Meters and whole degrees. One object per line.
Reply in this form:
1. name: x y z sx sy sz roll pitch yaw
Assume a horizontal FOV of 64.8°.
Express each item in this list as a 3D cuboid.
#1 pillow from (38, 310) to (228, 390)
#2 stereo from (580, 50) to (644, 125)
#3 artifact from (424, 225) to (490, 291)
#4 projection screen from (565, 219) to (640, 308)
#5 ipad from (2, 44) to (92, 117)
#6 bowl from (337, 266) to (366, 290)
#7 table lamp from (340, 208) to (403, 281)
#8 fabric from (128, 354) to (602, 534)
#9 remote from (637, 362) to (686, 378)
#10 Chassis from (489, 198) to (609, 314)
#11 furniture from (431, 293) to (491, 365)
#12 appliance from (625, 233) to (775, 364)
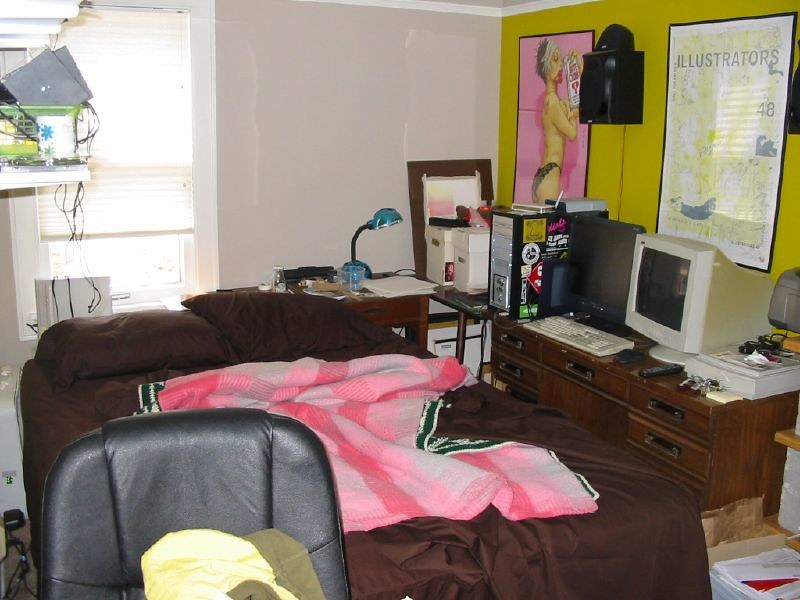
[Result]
1. pillow: -1.229 0.202 2.969 0.538 0.156 0.458 -5 11 -28
2. stereo: 1.091 -1.089 3.209 0.219 0.418 0.305 -5 15 -23
3. artifact: 0.398 -0.333 3.868 0.351 0.409 0.634 -3 11 -22
4. projection screen: 0.988 -0.177 3.039 0.135 0.382 0.382 -5 13 -31
5. ipad: -1.054 -0.658 1.858 0.223 0.176 0.076 -7 14 -18
6. bowl: -0.298 -0.133 3.833 0.139 0.119 0.154 1 5 -5
7. table lamp: -0.188 -0.353 4.034 0.351 0.467 0.469 -3 14 -4
8. fabric: -0.009 0.499 2.172 0.799 0.097 0.830 -5 16 -29
9. remote: 1.073 0.288 2.600 0.149 0.035 0.075 -7 13 -15
10. Chassis: 0.809 -0.236 3.404 0.656 0.627 0.243 -9 22 -30
11. furniture: 0.447 0.128 3.681 0.394 0.374 0.390 -8 15 -33
12. appliance: 1.336 -0.014 2.804 0.600 0.460 0.594 9 16 28
